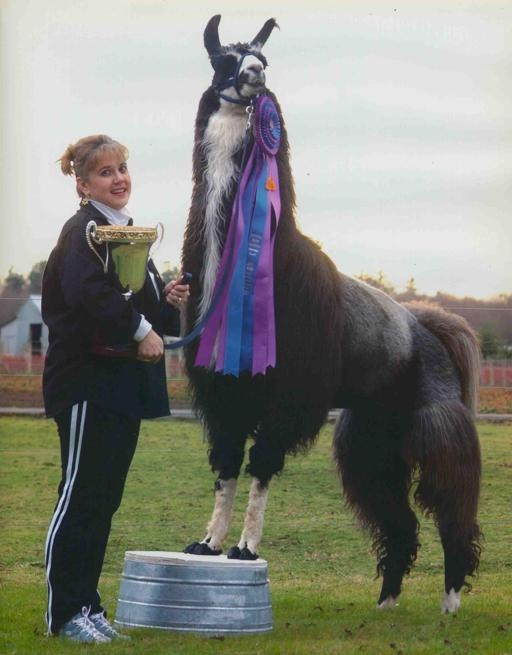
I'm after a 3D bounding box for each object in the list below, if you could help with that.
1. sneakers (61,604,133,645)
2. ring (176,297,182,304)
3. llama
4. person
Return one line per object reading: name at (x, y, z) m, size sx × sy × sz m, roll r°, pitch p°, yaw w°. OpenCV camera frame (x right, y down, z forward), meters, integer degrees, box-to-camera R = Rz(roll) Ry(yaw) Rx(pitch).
sneakers at (-0.639, 1.165, 7.182) m, size 0.253 × 0.123 × 0.177 m, roll -2°, pitch 6°, yaw -42°
ring at (-0.317, -0.111, 7.407) m, size 0.015 × 0.023 × 0.007 m, roll 1°, pitch 10°, yaw 27°
llama at (0.315, -0.034, 8.051) m, size 1.412 × 2.631 × 0.608 m, roll 0°, pitch 4°, yaw -29°
person at (-0.608, 0.227, 7.224) m, size 0.505 × 1.976 × 0.402 m, roll 1°, pitch 4°, yaw -8°
